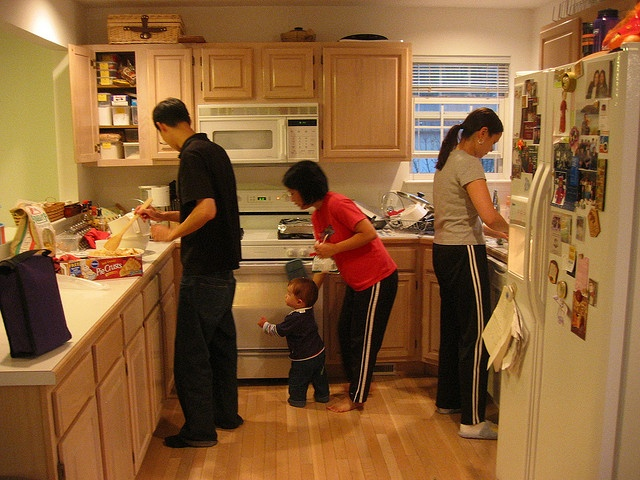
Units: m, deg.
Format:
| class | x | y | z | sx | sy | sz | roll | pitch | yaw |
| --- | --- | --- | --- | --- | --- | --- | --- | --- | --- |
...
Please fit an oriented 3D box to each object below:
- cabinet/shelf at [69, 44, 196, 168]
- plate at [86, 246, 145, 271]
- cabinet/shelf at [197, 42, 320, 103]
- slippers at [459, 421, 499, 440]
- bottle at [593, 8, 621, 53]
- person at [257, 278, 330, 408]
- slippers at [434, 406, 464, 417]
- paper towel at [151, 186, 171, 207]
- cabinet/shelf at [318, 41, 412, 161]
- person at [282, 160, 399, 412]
| class | x | y | z | sx | sy | sz | roll | pitch | yaw |
| --- | --- | --- | --- | --- | --- | --- | --- | --- | --- |
| cabinet/shelf | -1.363 | -0.943 | 3.856 | 0.938 | 0.875 | 0.660 | -4 | 10 | -26 |
| plate | -1.046 | 0.071 | 2.655 | 0.237 | 0.048 | 0.384 | -5 | 11 | -17 |
| cabinet/shelf | -0.451 | -1.220 | 3.885 | 0.910 | 0.408 | 0.285 | 0 | 5 | 1 |
| slippers | 0.917 | 1.109 | 2.967 | 0.192 | 0.086 | 0.094 | -2 | 6 | 0 |
| bottle | 1.163 | -0.854 | 2.098 | 0.092 | 0.184 | 0.212 | 3 | 12 | 27 |
| person | -0.180 | 0.658 | 3.442 | 0.453 | 0.781 | 0.405 | 0 | 5 | -11 |
| slippers | 0.805 | 1.066 | 3.227 | 0.149 | 0.062 | 0.051 | -2 | 13 | -6 |
| paper towel | -1.198 | -0.317 | 3.967 | 0.188 | 0.180 | 0.175 | -3 | 14 | -15 |
| cabinet/shelf | 0.313 | -1.035 | 4.035 | 0.731 | 0.885 | 0.467 | -2 | 9 | -7 |
| person | 0.102 | 0.314 | 3.120 | 0.527 | 1.574 | 0.537 | -13 | 15 | -42 |
